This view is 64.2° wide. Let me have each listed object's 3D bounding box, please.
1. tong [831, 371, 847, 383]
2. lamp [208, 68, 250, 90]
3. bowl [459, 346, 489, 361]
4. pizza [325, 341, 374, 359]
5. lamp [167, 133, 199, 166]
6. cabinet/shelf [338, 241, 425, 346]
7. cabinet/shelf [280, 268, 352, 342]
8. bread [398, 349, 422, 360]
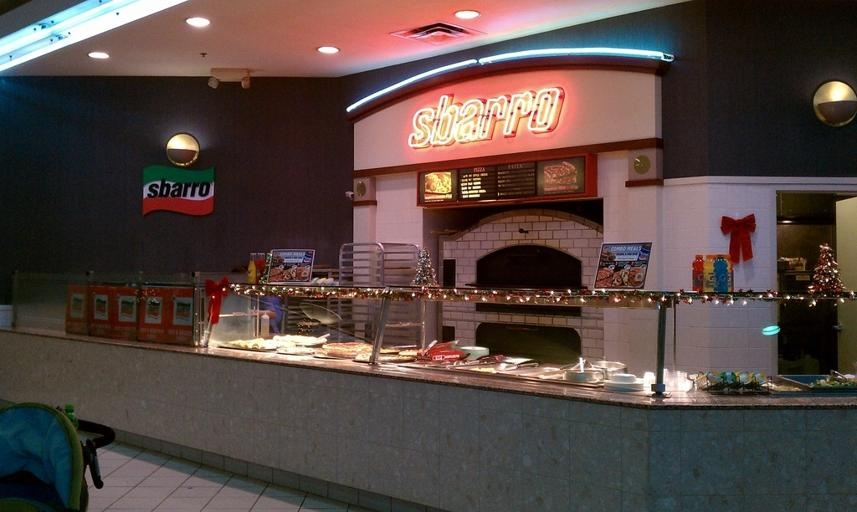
[{"bbox_3d":[3.585,1.049,6.002,0.135,0.079,0.150,0,-4,20],"label":"tong"},{"bbox_3d":[-3.191,-2.869,11.073,0.694,0.181,0.611,2,-4,-5],"label":"lamp"},{"bbox_3d":[0.453,0.959,6.794,0.275,0.128,0.243,2,-4,2],"label":"bowl"},{"bbox_3d":[-0.856,0.968,7.057,0.520,0.157,0.282,2,-4,0],"label":"pizza"},{"bbox_3d":[-4.066,-1.778,11.362,0.502,0.556,0.174,2,-6,4],"label":"lamp"},{"bbox_3d":[-0.610,0.362,9.028,1.140,1.324,4.174,2,-4,-6],"label":"cabinet/shelf"},{"bbox_3d":[-1.413,0.560,9.067,0.791,0.870,3.732,3,-4,-7],"label":"cabinet/shelf"},{"bbox_3d":[-0.181,0.967,6.780,0.213,0.083,0.121,2,-4,-3],"label":"bread"}]
